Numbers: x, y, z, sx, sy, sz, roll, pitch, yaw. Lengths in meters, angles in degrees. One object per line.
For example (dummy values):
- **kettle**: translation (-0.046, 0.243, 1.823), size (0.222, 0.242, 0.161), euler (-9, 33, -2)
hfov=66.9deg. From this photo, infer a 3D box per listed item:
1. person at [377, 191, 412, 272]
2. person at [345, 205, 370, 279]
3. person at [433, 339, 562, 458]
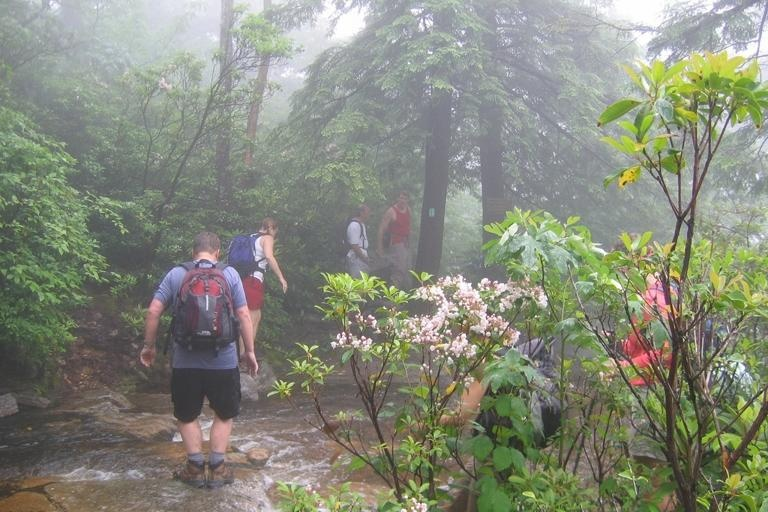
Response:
- **person**: translation (0.273, -0.649, 15.208), size (0.859, 2.129, 0.836), euler (8, 12, 17)
- **person**: translation (-0.637, -0.316, 13.317), size (0.530, 0.718, 1.843), euler (-4, -44, -2)
- **person**: translation (1.443, 1.520, 6.363), size (1.214, 0.695, 1.232), euler (11, 11, 28)
